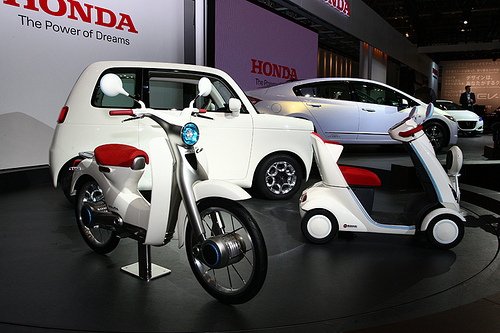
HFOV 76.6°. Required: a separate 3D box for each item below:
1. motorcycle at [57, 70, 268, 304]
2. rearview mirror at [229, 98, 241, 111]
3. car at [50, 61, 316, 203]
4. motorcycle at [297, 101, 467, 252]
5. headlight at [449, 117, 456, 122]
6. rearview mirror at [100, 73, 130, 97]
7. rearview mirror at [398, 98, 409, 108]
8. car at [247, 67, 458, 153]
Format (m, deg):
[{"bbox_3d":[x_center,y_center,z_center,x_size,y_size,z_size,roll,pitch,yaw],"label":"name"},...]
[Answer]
[{"bbox_3d":[-0.949,0.134,2.677,2.209,1.634,0.979,6,5,33],"label":"motorcycle"},{"bbox_3d":[-0.191,-0.773,3.891,0.147,0.119,0.036,1,4,-24],"label":"rearview mirror"},{"bbox_3d":[-0.967,-0.518,5.137,3.745,2.097,1.850,-1,3,-16],"label":"car"},{"bbox_3d":[1.404,0.074,3.547,1.588,1.385,0.874,2,7,19],"label":"motorcycle"},{"bbox_3d":[5.575,-1.334,8.771,0.194,0.120,0.090,5,8,24],"label":"headlight"},{"bbox_3d":[-1.003,-0.618,2.358,0.148,0.157,0.213,0,12,-1],"label":"rearview mirror"},{"bbox_3d":[3.920,-1.649,8.216,0.287,0.221,0.262,0,3,-6],"label":"rearview mirror"},{"bbox_3d":[2.767,-0.942,7.952,4.959,2.301,2.462,-1,6,-9],"label":"car"}]
